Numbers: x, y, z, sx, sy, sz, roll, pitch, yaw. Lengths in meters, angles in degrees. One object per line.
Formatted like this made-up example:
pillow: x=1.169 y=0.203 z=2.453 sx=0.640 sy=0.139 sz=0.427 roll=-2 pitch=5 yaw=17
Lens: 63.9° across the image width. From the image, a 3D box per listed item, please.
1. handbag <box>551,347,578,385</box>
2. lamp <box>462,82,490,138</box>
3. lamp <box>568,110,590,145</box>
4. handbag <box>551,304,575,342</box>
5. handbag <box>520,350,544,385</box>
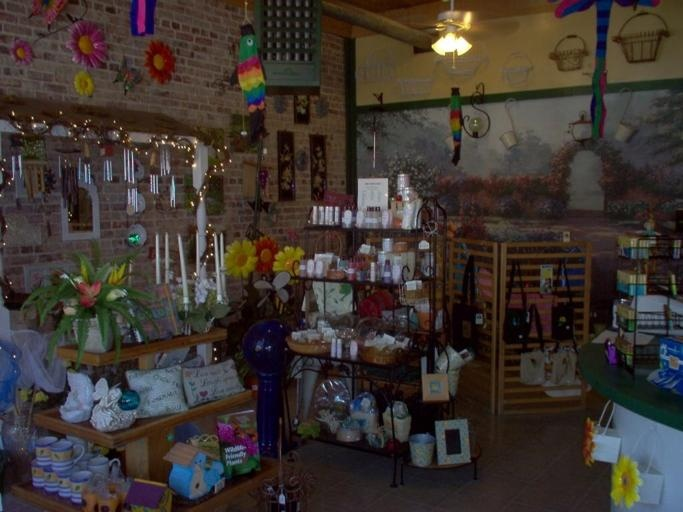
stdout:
handbag: x=2.552 y=1.269 z=6.344 sx=0.279 sy=0.415 sz=0.144 roll=2 pitch=1 yaw=6
lamp: x=1.963 y=-2.100 z=7.949 sx=0.408 sy=0.801 sz=0.182 roll=2 pitch=8 yaw=21
lamp: x=3.251 y=-1.750 z=7.376 sx=0.263 sy=0.406 sz=0.248 roll=0 pitch=4 yaw=30
handbag: x=2.574 y=0.702 z=6.388 sx=0.267 sy=0.500 sz=0.271 roll=-3 pitch=14 yaw=14
handbag: x=2.225 y=1.308 z=6.354 sx=0.260 sy=0.383 sz=0.209 roll=-5 pitch=-28 yaw=25
